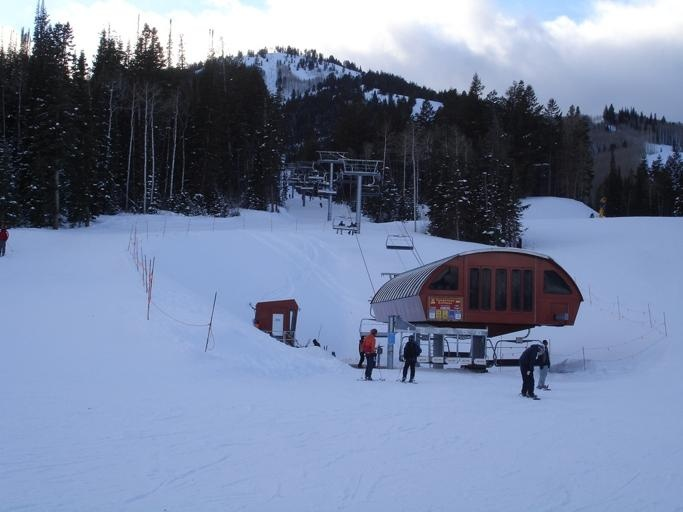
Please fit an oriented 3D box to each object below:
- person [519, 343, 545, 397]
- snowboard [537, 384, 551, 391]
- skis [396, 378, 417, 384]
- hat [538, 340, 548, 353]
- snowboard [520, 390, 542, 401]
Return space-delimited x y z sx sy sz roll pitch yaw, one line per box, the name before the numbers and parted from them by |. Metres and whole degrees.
person | 6.448 3.909 27.812 0.577 1.902 0.684 4 3 -9
snowboard | 7.315 4.699 29.139 0.596 0.331 0.218 5 -6 -12
skis | 2.446 4.731 30.809 0.748 0.170 0.287 -2 5 15
hat | 7.027 3.119 28.308 0.320 0.593 0.182 0 -1 -18
snowboard | 6.374 4.709 27.583 0.579 0.305 0.245 4 4 12
